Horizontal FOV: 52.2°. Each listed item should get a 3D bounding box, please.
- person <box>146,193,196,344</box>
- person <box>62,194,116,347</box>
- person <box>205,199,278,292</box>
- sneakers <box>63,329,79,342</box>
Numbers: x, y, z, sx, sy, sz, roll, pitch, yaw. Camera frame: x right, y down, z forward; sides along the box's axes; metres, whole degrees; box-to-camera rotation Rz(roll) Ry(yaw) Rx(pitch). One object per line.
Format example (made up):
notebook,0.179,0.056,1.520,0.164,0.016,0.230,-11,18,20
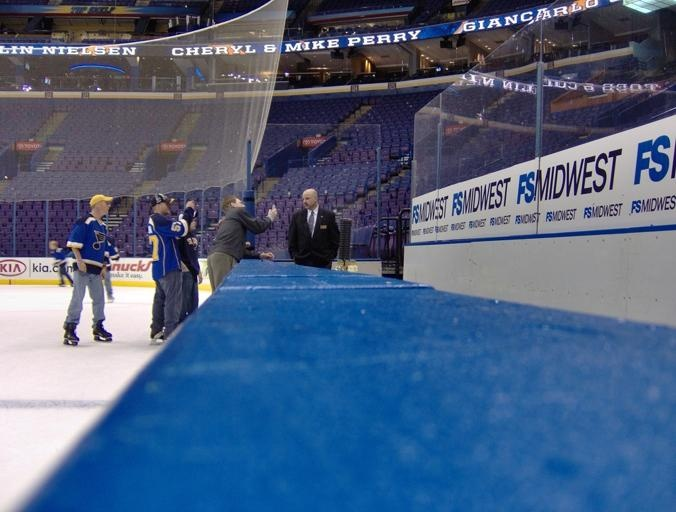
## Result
person,-1.461,0.185,5.957,0.357,1.134,0.571,1,5,-14
person,-2.160,0.109,6.011,0.392,1.254,0.891,1,5,-19
person,-0.867,-0.091,6.019,0.507,0.809,1.083,2,5,-11
sneakers,-2.186,0.653,5.640,0.107,0.160,0.119,1,5,-23
